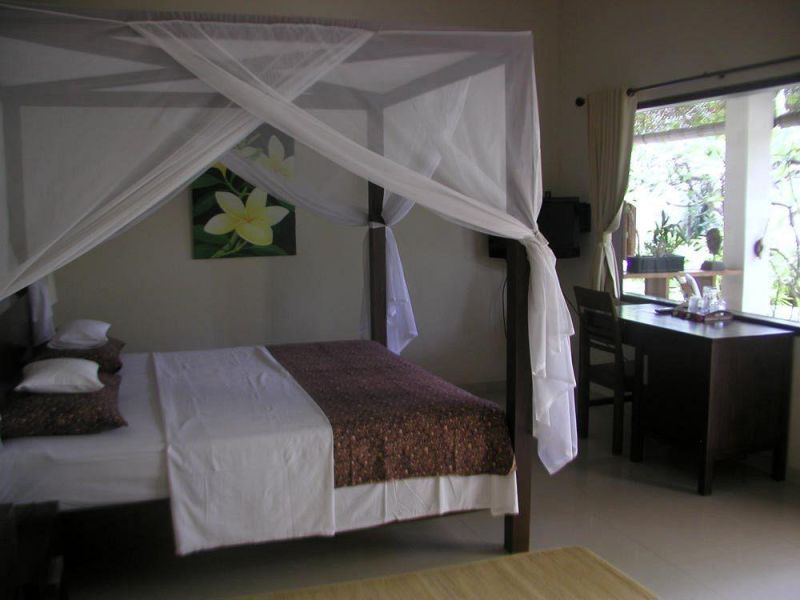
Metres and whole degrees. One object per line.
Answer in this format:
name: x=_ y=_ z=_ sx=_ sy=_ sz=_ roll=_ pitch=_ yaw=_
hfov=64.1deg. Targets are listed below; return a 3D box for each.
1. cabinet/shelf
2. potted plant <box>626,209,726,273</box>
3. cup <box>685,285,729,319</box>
cabinet/shelf: x=1.950 y=0.646 z=4.028 sx=0.994 sy=0.934 sz=0.655 roll=3 pitch=12 yaw=15
potted plant: x=2.147 y=-0.425 z=5.042 sx=0.661 sy=0.541 sz=0.329 roll=1 pitch=4 yaw=16
cup: x=2.049 y=0.031 z=4.309 sx=0.209 sy=0.249 sz=0.230 roll=-1 pitch=10 yaw=0
